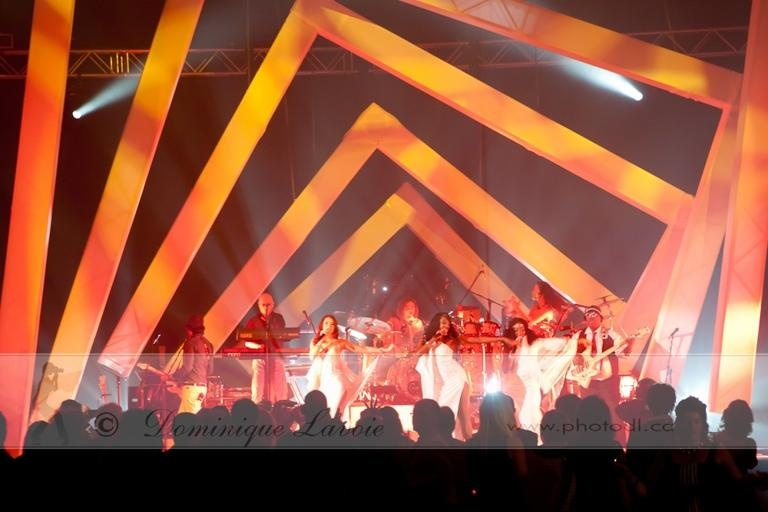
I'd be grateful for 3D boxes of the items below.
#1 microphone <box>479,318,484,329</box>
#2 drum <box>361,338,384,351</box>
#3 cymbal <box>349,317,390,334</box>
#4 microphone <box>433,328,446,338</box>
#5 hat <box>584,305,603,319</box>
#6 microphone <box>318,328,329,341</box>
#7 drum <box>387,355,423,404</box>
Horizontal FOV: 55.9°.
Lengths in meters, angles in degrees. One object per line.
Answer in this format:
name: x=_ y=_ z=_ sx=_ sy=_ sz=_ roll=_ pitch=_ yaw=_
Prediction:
microphone: x=1.323 y=0.879 z=9.730 sx=0.080 sy=0.103 sz=0.116 roll=-2 pitch=-23 yaw=0
drum: x=-0.169 y=1.154 z=9.773 sx=0.249 sy=0.195 sz=0.180 roll=-4 pitch=17 yaw=30
cymbal: x=-0.231 y=0.940 z=9.948 sx=0.294 sy=0.077 sz=0.315 roll=9 pitch=14 yaw=7
microphone: x=0.697 y=0.968 z=9.123 sx=0.105 sy=0.092 sz=0.043 roll=-27 pitch=-37 yaw=14
hat: x=2.808 y=0.744 z=9.725 sx=0.136 sy=0.147 sz=0.182 roll=-4 pitch=-38 yaw=17
microphone: x=-0.783 y=1.006 z=9.309 sx=0.109 sy=0.164 sz=0.059 roll=0 pitch=-3 yaw=14
drum: x=0.255 y=1.560 z=9.425 sx=0.484 sy=0.525 sz=0.585 roll=-5 pitch=4 yaw=-2
